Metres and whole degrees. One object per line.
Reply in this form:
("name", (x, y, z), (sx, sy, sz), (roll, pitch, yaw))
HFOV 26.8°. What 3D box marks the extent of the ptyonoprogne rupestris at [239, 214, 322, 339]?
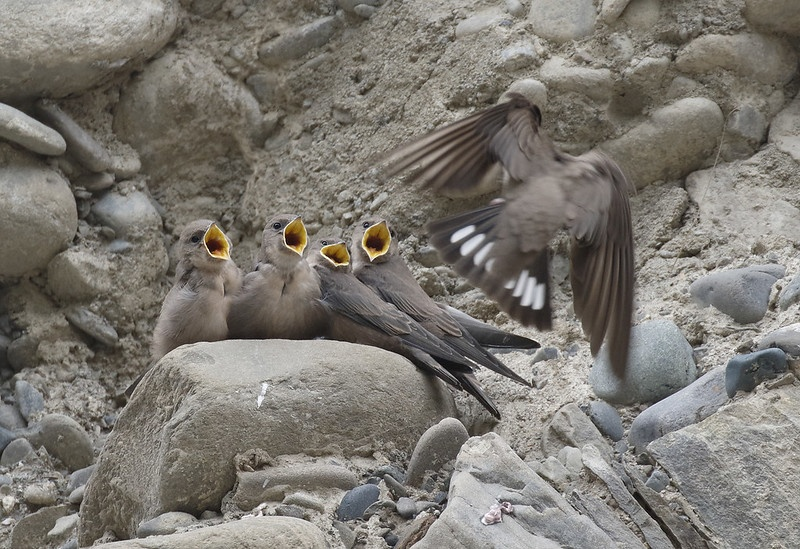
("ptyonoprogne rupestris", (-0.762, 0.126, 11.083), (0.550, 0.688, 0.488), (17, 28, 13))
